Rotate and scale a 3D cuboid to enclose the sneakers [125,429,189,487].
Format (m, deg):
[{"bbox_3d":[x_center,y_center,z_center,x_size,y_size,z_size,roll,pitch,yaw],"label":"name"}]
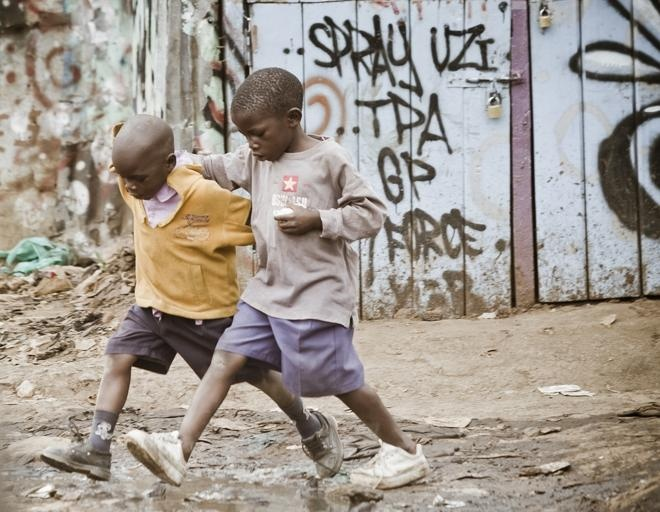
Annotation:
[{"bbox_3d":[-0.852,0.979,3.997,0.183,0.268,0.247,10,6,43],"label":"sneakers"}]

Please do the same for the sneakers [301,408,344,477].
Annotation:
[{"bbox_3d":[-0.074,1.027,4.522,0.194,0.410,0.148,19,-45,-30],"label":"sneakers"}]

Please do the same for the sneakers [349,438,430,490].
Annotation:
[{"bbox_3d":[0.355,1.059,4.299,0.435,0.190,0.166,-11,-2,29],"label":"sneakers"}]

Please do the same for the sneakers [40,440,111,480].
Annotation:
[{"bbox_3d":[-1.273,1.016,4.225,0.425,0.176,0.133,10,5,13],"label":"sneakers"}]
